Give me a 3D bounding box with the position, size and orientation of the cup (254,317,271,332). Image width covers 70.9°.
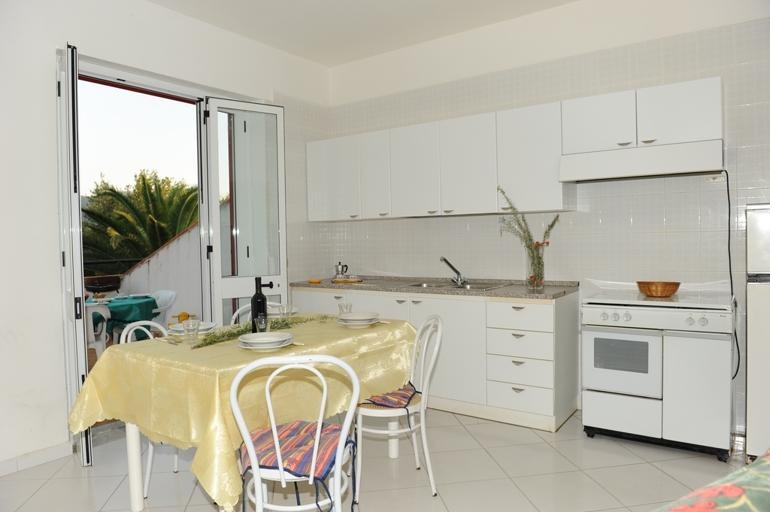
[{"bbox_3d":[-0.868,0.481,3.824,0.095,0.092,0.104,2,4,0],"label":"cup"}]

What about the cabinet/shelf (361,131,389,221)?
[{"bbox_3d":[-0.117,-0.896,5.964,0.395,0.923,0.209,3,14,18],"label":"cabinet/shelf"}]

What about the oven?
[{"bbox_3d":[2.019,0.833,4.675,0.675,0.636,0.508,-3,-7,36],"label":"oven"}]

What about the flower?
[{"bbox_3d":[1.354,-0.149,5.784,0.900,1.290,0.785,0,1,15],"label":"flower"}]

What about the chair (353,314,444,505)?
[{"bbox_3d":[0.090,1.146,4.309,0.828,1.343,0.814,-1,-2,33],"label":"chair"}]

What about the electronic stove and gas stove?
[{"bbox_3d":[2.316,0.433,4.670,1.121,0.293,0.566,4,13,25],"label":"electronic stove and gas stove"}]

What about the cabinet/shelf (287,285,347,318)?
[{"bbox_3d":[-0.782,0.478,5.980,0.600,0.561,0.316,-2,-5,30],"label":"cabinet/shelf"}]

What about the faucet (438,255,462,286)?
[{"bbox_3d":[0.716,0.146,5.781,0.258,0.287,0.364,0,13,7],"label":"faucet"}]

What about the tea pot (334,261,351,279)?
[{"bbox_3d":[-0.514,0.180,6.429,0.219,0.259,0.141,1,-1,-2],"label":"tea pot"}]

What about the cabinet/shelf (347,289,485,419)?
[{"bbox_3d":[0.181,0.792,5.350,1.129,1.577,0.838,1,4,30],"label":"cabinet/shelf"}]

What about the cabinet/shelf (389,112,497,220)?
[{"bbox_3d":[0.622,-0.913,5.734,1.155,0.966,0.406,0,7,18],"label":"cabinet/shelf"}]

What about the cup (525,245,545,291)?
[{"bbox_3d":[1.409,0.098,5.096,0.139,0.403,0.286,1,13,12],"label":"cup"}]

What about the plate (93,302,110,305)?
[{"bbox_3d":[-3.414,0.555,6.502,0.115,0.027,0.111,2,3,18],"label":"plate"}]

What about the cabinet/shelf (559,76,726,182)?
[{"bbox_3d":[2.279,-1.052,4.881,1.283,0.805,0.486,-1,-7,32],"label":"cabinet/shelf"}]

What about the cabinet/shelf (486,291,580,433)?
[{"bbox_3d":[1.353,0.931,5.228,0.677,1.185,0.725,4,13,31],"label":"cabinet/shelf"}]

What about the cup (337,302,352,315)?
[{"bbox_3d":[-0.320,0.411,4.312,0.097,0.108,0.101,1,2,0],"label":"cup"}]

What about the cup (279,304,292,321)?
[{"bbox_3d":[-0.783,0.452,4.294,0.093,0.099,0.093,2,5,0],"label":"cup"}]
